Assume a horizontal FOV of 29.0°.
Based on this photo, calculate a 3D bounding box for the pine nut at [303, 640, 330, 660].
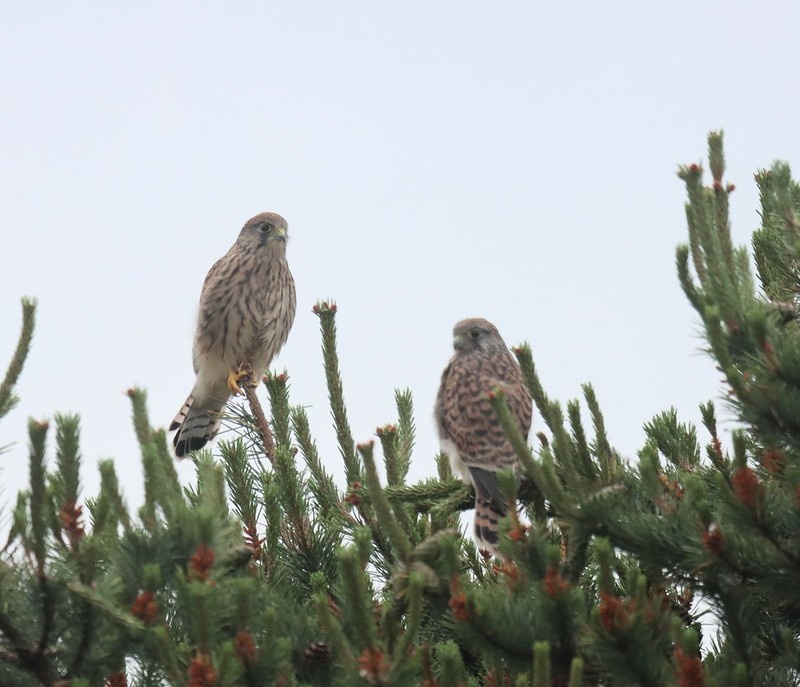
[{"bbox_3d":[-0.338,1.230,6.249,0.105,0.072,0.025,-12,-23,2],"label":"pine nut"}]
